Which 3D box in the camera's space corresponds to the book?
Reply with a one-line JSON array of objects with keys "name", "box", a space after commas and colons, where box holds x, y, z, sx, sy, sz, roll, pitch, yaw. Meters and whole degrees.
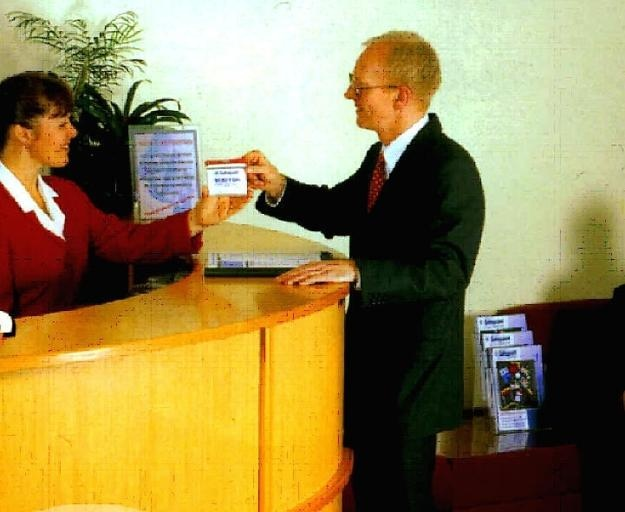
[{"name": "book", "box": [0.734, 0.422, 4.321, 0.289, 0.400, 0.103, -1, -10, -5]}]
